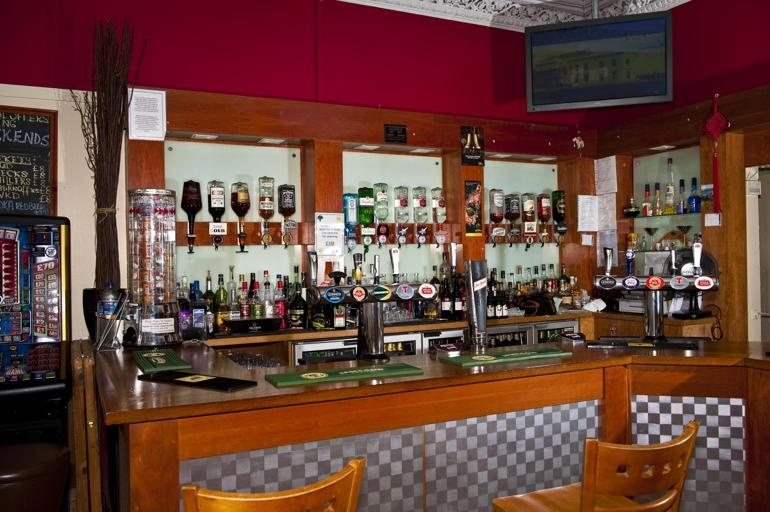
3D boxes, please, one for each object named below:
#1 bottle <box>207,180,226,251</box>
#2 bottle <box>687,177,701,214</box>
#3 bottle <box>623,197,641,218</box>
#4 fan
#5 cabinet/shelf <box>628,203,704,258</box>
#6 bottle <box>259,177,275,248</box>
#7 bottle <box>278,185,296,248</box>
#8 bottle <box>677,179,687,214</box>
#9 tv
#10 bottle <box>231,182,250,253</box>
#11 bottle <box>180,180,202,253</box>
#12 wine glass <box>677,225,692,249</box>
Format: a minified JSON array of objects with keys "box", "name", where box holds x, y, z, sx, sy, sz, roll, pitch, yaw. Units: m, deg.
[{"box":[-1.490,-0.383,5.423,0.155,0.504,0.286,-3,-1,-15],"name":"bottle"},{"box":[3.046,-0.615,6.078,0.113,0.373,0.255,-4,-1,26],"name":"bottle"},{"box":[2.594,-0.533,6.543,0.202,0.241,0.190,-1,-4,0],"name":"bottle"},{"box":[2.783,0.273,5.723,0.511,0.667,0.469,-6,-10,17],"name":"fan"},{"box":[2.622,-0.274,6.059,0.980,0.490,0.253,-3,19,-22],"name":"cabinet/shelf"},{"box":[-1.079,-0.416,5.587,0.151,0.569,0.357,-3,-1,-9],"name":"bottle"},{"box":[-0.905,-0.384,5.636,0.163,0.503,0.289,-3,-1,-8],"name":"bottle"},{"box":[2.982,-0.613,6.181,0.090,0.380,0.213,-4,-1,25],"name":"bottle"},{"box":[1.967,-1.779,5.634,1.236,0.709,0.087,0,8,21],"name":"tv"},{"box":[-1.296,-0.371,5.474,0.179,0.539,0.292,-3,-1,-13],"name":"bottle"},{"box":[-1.677,-0.356,5.305,0.172,0.520,0.240,-3,-1,-18],"name":"bottle"},{"box":[2.949,-0.205,6.094,0.162,0.241,0.170,-4,-1,43],"name":"wine glass"}]
